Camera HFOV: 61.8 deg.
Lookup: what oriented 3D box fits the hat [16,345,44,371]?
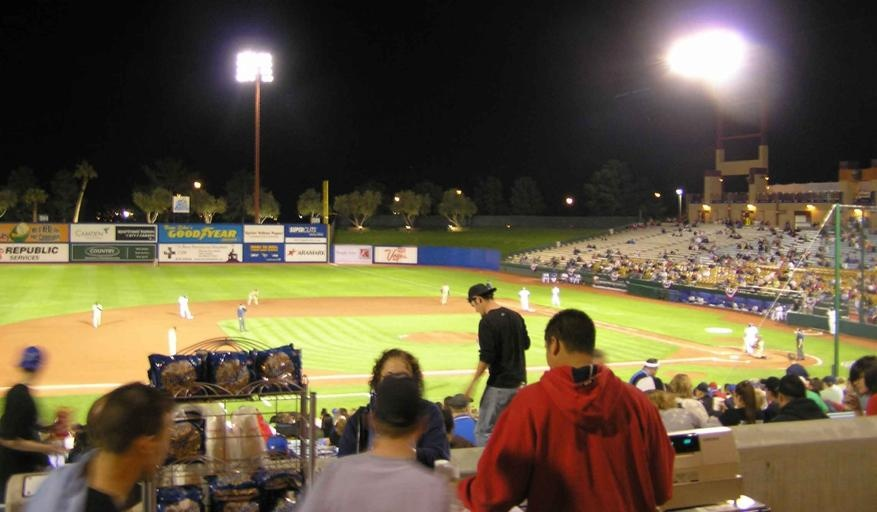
[{"bbox_3d":[-6.130,1.583,11.047,0.294,0.349,0.126,-1,-42,-17],"label":"hat"}]

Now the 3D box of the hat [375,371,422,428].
[{"bbox_3d":[-0.443,1.622,8.115,0.476,0.510,0.573,5,2,-2],"label":"hat"}]
